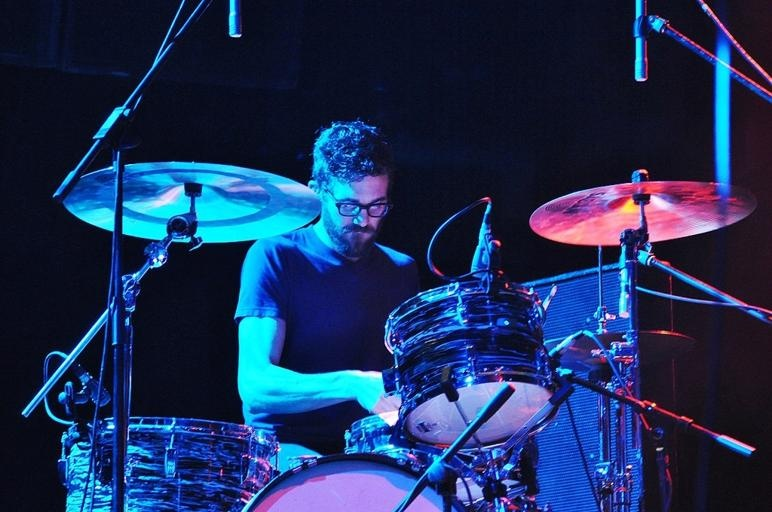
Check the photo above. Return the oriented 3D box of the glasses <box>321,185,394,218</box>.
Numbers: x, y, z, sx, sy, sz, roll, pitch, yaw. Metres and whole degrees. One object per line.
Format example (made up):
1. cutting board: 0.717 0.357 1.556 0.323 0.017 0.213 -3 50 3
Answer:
1. glasses: -0.179 -0.318 7.775 0.394 0.184 0.159 2 -17 -3

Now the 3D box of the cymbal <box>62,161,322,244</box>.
1. cymbal: -1.086 -0.322 7.625 0.881 0.154 0.779 5 -26 -13
